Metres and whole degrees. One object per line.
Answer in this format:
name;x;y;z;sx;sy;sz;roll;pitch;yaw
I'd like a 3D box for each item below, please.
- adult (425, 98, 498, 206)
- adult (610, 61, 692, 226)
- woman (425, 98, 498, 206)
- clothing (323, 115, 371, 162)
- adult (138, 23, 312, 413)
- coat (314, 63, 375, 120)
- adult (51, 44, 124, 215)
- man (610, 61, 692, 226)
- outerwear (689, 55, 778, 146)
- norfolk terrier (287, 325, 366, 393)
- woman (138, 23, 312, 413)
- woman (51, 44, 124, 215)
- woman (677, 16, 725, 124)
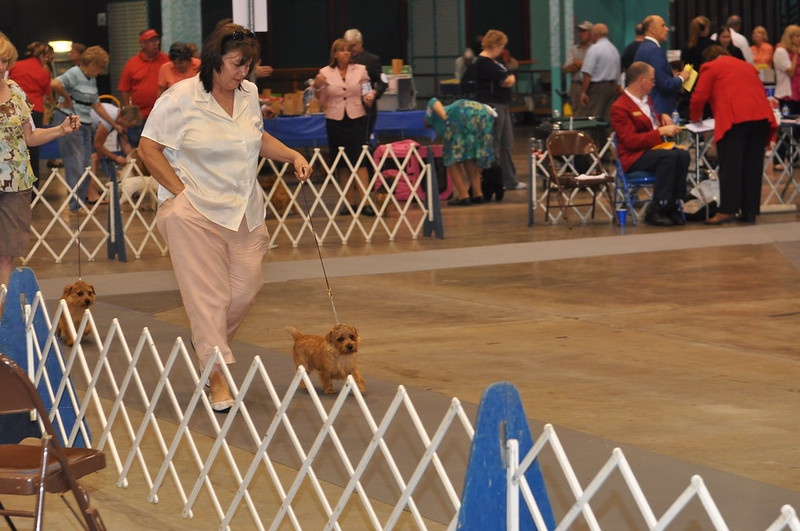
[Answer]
adult;0.842;-1.506;15.600;0.915;1.434;0.860;-1;9;-1
adult;2.913;-1.406;13.589;0.872;1.895;0.600;0;9;10
woman;0.852;-1.506;15.596;0.905;1.434;0.858;-2;9;-4
clothing;-0.628;-1.626;14.856;0.677;0.957;0.540;-1;5;2
adult;-1.303;-0.467;7.875;0.816;2.284;0.536;-3;9;-9
coat;-0.675;-2.189;14.626;0.661;0.669;0.358;-4;13;-8
adult;-4.230;-1.822;15.534;0.932;2.175;0.725;-6;7;-44
man;2.914;-1.407;13.594;0.872;1.895;0.609;0;9;10
outerwear;3.849;-1.946;13.475;0.838;1.094;0.718;-7;0;-26
norfolk terrier;-0.486;0.617;8.194;0.289;0.481;0.781;-14;16;-38
woman;-1.303;-0.467;7.876;0.808;2.284;0.546;-3;9;-8
woman;-4.226;-1.810;15.557;0.921;2.225;0.756;-7;8;-44
woman;4.384;-2.811;16.681;0.526;1.639;0.689;14;-21;-22
